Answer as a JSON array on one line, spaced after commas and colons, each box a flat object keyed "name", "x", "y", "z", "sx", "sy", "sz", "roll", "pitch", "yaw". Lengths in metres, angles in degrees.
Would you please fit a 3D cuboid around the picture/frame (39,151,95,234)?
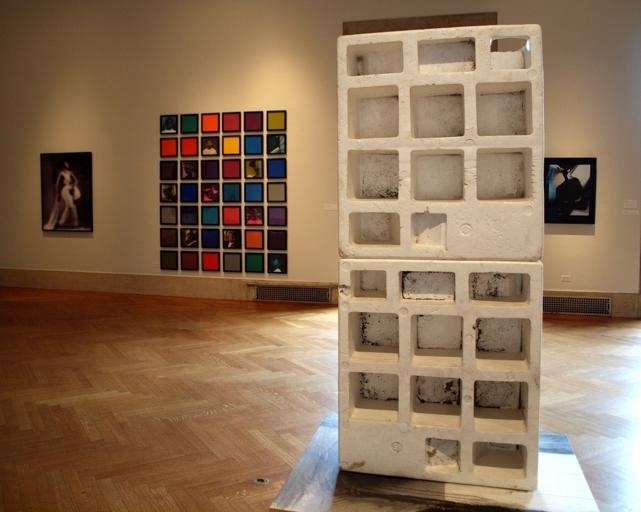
[{"name": "picture/frame", "x": -4.962, "y": -1.246, "z": 10.010, "sx": 1.231, "sy": 1.525, "sz": 0.079, "roll": 2, "pitch": 3, "yaw": 18}]

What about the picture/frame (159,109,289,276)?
[{"name": "picture/frame", "x": -1.591, "y": -1.166, "z": 8.953, "sx": 2.633, "sy": 3.441, "sz": 0.058, "roll": 0, "pitch": 0, "yaw": 14}]
